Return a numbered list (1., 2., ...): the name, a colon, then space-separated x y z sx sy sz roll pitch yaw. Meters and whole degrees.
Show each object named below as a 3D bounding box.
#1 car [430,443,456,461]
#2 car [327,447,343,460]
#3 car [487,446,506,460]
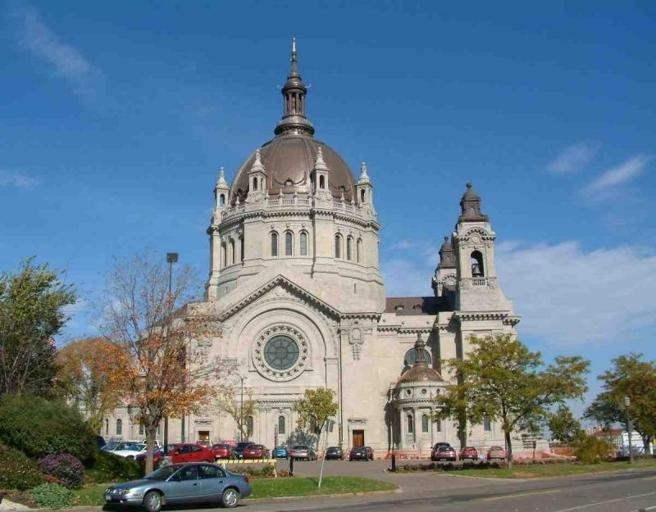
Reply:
1. car: 9.622 16.503 111.559 1.754 1.234 3.729 1 -4 2
2. car: 0.493 17.333 116.891 1.621 1.278 1.095 5 -21 -16
3. car: 14.332 16.956 113.924 0.984 0.758 2.101 -1 -4 8
